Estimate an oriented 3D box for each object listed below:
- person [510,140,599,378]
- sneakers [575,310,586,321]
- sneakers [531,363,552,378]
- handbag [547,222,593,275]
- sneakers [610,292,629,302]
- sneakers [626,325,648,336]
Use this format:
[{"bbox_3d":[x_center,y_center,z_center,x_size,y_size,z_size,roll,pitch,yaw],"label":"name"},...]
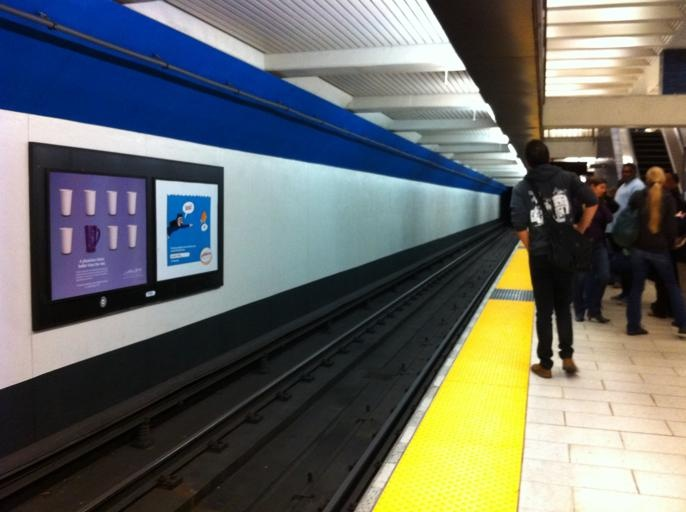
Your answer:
[{"bbox_3d":[2.212,0.031,4.499,0.755,2.507,0.715,4,9,41],"label":"person"},{"bbox_3d":[3.687,0.932,6.609,0.178,0.164,0.109,0,5,9],"label":"sneakers"},{"bbox_3d":[2.113,1.220,4.519,0.115,0.119,0.200,-8,23,-36],"label":"sneakers"},{"bbox_3d":[2.242,-0.078,4.217,0.395,0.464,0.205,1,7,10],"label":"handbag"},{"bbox_3d":[5.161,0.762,7.952,0.121,0.237,0.344,-3,10,10],"label":"sneakers"},{"bbox_3d":[4.066,1.016,5.914,0.355,0.138,0.114,-3,8,-16],"label":"sneakers"}]
